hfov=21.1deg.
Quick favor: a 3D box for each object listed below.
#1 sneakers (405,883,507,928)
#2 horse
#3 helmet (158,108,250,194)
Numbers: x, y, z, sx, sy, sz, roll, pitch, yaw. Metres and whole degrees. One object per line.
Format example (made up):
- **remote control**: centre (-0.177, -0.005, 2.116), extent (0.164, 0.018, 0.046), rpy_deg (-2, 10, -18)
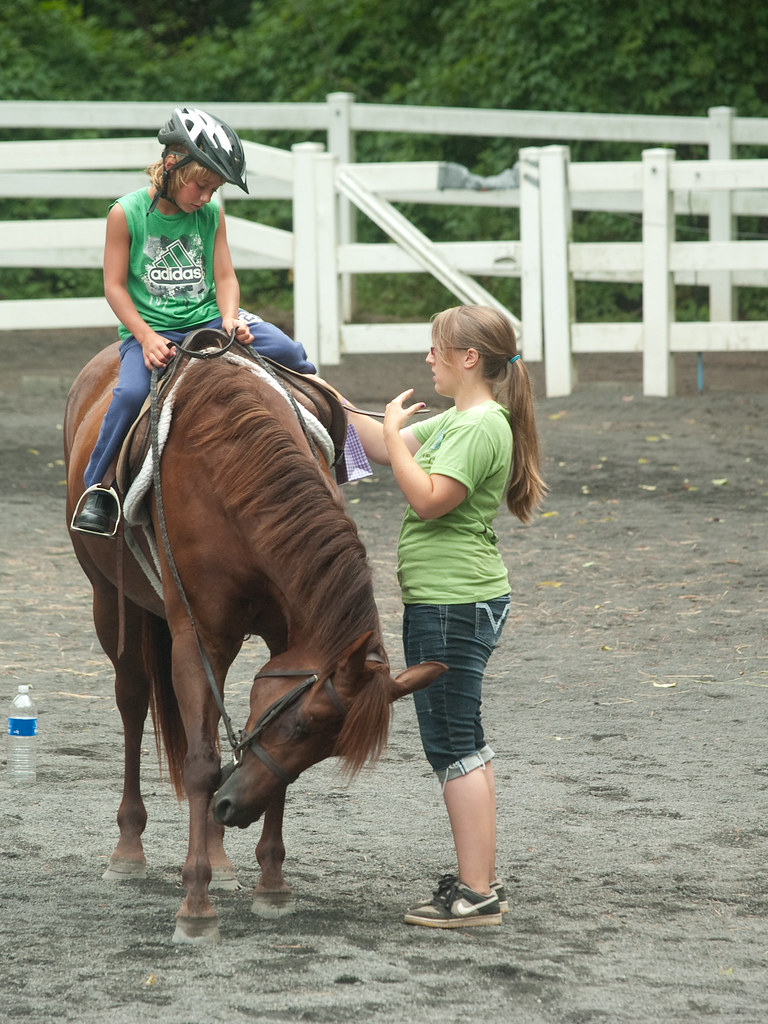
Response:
- **sneakers**: centre (0.199, 1.097, 5.772), extent (0.324, 0.127, 0.104), rpy_deg (1, -7, -6)
- **horse**: centre (-0.568, 0.291, 6.439), extent (0.761, 1.688, 2.754), rpy_deg (-2, 11, -20)
- **helmet**: centre (-0.555, -1.092, 6.250), extent (0.249, 0.233, 0.269), rpy_deg (-2, 13, -6)
